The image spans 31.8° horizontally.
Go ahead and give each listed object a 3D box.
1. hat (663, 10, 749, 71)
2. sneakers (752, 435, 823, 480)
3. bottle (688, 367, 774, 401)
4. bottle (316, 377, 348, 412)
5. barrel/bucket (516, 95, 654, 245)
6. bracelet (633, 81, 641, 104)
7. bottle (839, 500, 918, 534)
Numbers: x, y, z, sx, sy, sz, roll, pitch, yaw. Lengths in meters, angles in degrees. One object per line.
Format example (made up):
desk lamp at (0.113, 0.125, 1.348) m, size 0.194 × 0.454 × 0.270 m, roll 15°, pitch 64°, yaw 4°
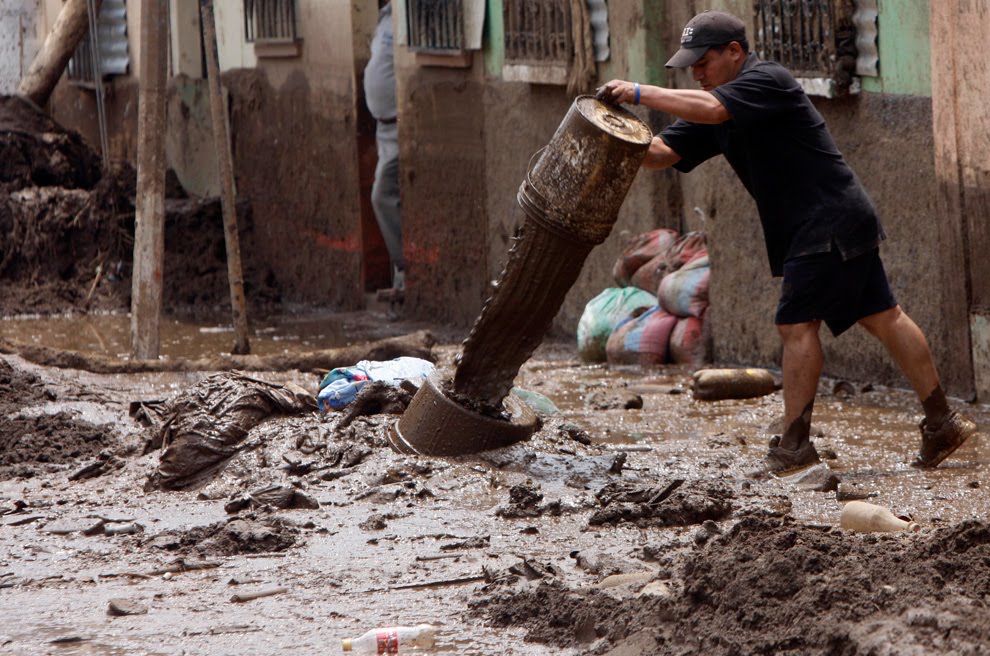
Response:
hat at (1.382, -1.847, 11.290) m, size 0.470 × 0.288 × 0.327 m, roll -18°, pitch 17°, yaw -5°
sneakers at (1.907, 0.835, 11.163) m, size 0.532 × 0.261 × 0.189 m, roll -8°, pitch -4°, yaw -3°
bottle at (1.790, 0.417, 13.035) m, size 0.520 × 0.233 × 0.251 m, roll -2°, pitch -7°, yaw -16°
bottle at (-1.167, 0.481, 12.680) m, size 0.234 × 0.168 × 0.326 m, roll -8°, pitch 9°, yaw -7°
barrel/bucket at (0.641, -1.039, 11.388) m, size 0.819 × 0.905 × 0.869 m, roll 24°, pitch 13°, yaw -6°
bracelet at (0.924, -1.500, 10.992) m, size 0.032 × 0.091 × 0.076 m, roll 6°, pitch -20°, yaw -15°
bottle at (2.287, 1.126, 10.308) m, size 0.512 × 0.142 × 0.433 m, roll -2°, pitch 11°, yaw 33°
